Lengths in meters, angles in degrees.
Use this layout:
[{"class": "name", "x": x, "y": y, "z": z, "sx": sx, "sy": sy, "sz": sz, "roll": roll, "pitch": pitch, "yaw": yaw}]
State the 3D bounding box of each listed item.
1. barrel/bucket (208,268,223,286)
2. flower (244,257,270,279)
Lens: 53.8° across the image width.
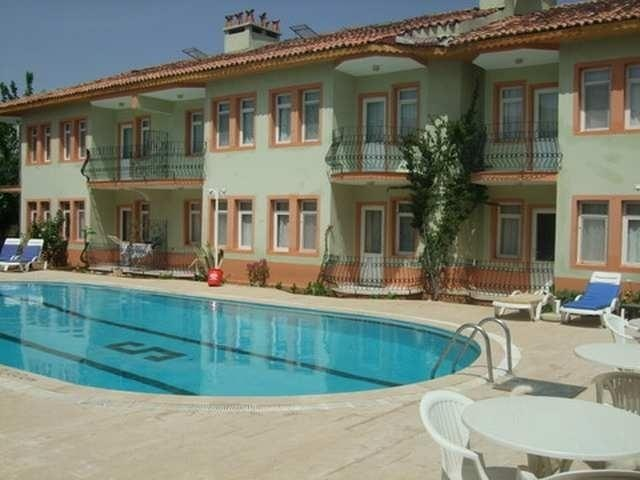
[{"class": "barrel/bucket", "x": -3.705, "y": 1.296, "z": 22.177, "sx": 0.494, "sy": 0.573, "sz": 0.820, "roll": -1, "pitch": 3, "yaw": -12}, {"class": "flower", "x": -2.247, "y": 0.977, "z": 22.354, "sx": 0.688, "sy": 0.525, "sz": 0.700, "roll": -5, "pitch": 30, "yaw": -28}]
